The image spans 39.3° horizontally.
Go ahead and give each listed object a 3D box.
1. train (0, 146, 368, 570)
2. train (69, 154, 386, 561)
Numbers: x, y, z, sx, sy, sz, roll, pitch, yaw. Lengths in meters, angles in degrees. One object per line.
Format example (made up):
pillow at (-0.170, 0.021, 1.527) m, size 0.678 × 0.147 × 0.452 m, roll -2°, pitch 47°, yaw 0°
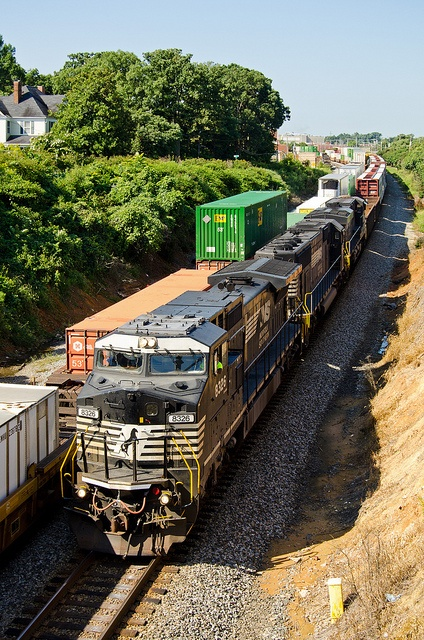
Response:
train at (0.239, -0.136, 15.453) m, size 2.945 × 3.489 × 15.405 m, roll 4°, pitch 16°, yaw 15°
train at (0.877, -0.401, 16.560) m, size 2.632 × 3.106 × 17.845 m, roll 5°, pitch 16°, yaw 17°
